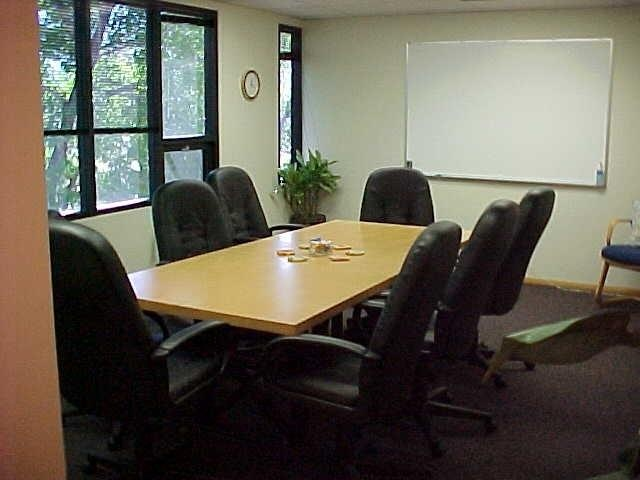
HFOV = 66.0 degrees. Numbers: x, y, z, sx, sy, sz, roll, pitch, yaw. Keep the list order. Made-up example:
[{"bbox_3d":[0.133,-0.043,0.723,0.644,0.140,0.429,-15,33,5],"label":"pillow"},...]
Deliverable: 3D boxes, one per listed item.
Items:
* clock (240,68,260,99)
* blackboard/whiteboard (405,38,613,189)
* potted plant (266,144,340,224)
[{"bbox_3d":[-0.757,-1.741,5.507,0.301,0.306,0.031,19,21,38],"label":"clock"},{"bbox_3d":[2.084,-1.381,5.226,1.803,1.309,0.063,6,16,25],"label":"blackboard/whiteboard"},{"bbox_3d":[-0.205,-0.681,6.479,0.878,1.104,0.823,1,4,-4],"label":"potted plant"}]
